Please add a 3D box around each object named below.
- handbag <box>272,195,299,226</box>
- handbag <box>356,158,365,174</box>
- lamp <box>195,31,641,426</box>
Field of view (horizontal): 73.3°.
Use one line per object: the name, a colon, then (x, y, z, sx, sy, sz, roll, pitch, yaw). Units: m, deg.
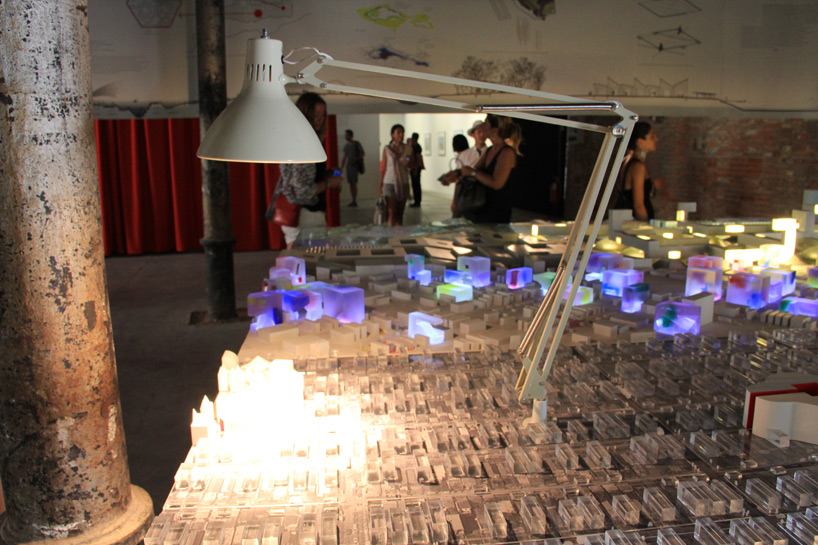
handbag: (-0.810, -0.418, 3.629, 0.186, 0.209, 0.120, 5, 18, 6)
handbag: (-0.881, -1.932, 9.883, 0.148, 0.246, 0.267, -2, 20, 0)
lamp: (0.258, -0.193, 1.924, 0.999, 1.056, 1.591, 9, 16, 31)
